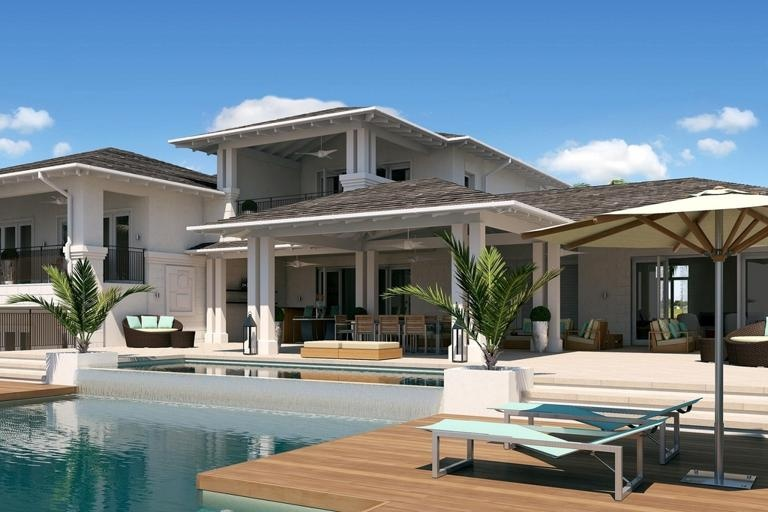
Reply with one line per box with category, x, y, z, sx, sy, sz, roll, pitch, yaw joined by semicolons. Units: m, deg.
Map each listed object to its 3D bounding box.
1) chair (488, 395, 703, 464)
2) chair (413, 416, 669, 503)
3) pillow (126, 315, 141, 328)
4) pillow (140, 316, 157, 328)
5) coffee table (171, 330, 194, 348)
chair;2.945;2.388;10.101;3.033;0.693;1.317;-1;-2;28
chair;2.176;2.619;9.396;2.920;0.862;2.118;-2;-5;14
pillow;-8.476;2.219;23.442;0.489;0.380;0.138;4;-25;-42
pillow;-8.065;2.229;23.570;0.474;0.373;0.135;3;-39;-17
coffee table;-6.654;2.712;22.854;0.704;0.383;0.628;2;-6;-20
